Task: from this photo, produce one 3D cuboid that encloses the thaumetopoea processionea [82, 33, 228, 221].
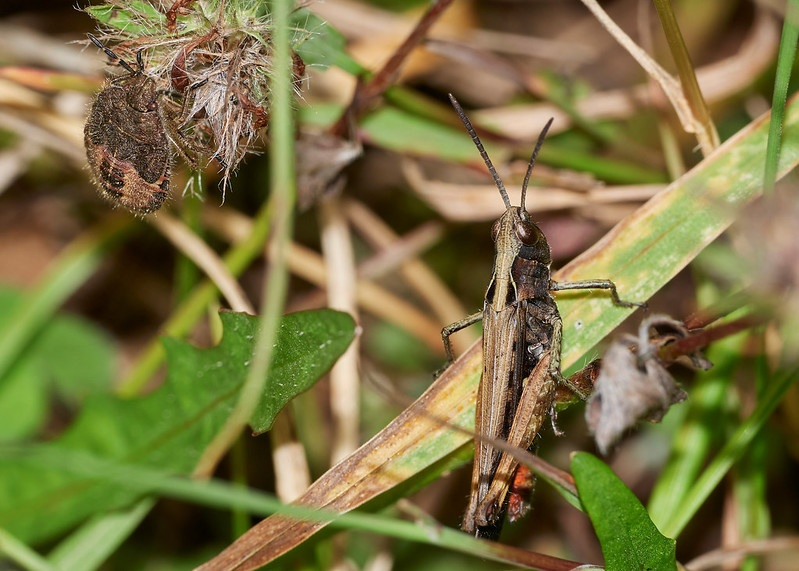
[{"bbox_3d":[-0.900,-0.543,2.702,0.463,0.461,0.337,11,-33,-6],"label":"thaumetopoea processionea"}]
